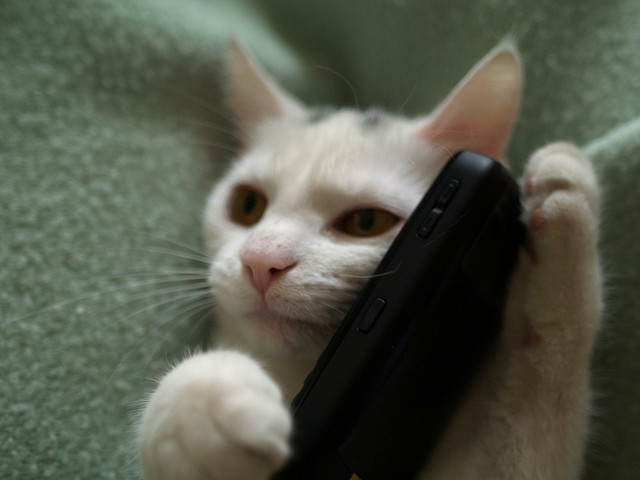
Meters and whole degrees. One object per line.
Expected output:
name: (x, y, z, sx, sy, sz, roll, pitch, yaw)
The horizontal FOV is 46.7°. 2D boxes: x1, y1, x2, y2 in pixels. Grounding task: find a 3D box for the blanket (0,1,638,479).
blanket: (-0.196, 0.021, 1.065, 0.596, 0.087, 0.582, 4, 87, -1)
